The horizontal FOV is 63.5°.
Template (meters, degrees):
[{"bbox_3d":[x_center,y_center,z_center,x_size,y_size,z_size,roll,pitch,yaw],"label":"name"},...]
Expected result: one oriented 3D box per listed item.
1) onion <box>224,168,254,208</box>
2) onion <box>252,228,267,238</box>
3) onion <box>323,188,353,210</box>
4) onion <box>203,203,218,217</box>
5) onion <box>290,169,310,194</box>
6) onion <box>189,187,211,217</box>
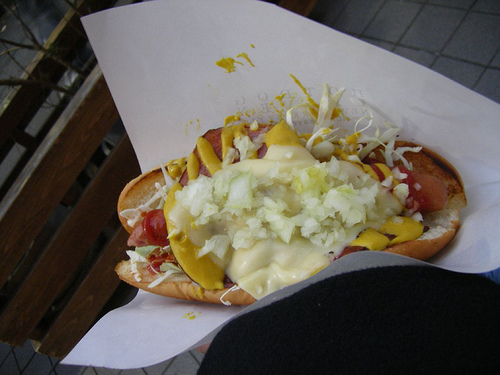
[{"bbox_3d":[-0.044,0.006,1.552,0.110,0.063,0.143,-1,79,4],"label":"onion"},{"bbox_3d":[0.037,0.174,1.543,0.050,0.011,0.038,-4,79,4],"label":"onion"},{"bbox_3d":[0.325,0.051,1.482,0.100,0.030,0.070,21,81,8],"label":"onion"},{"bbox_3d":[-0.155,0.088,1.567,0.044,0.018,0.053,0,83,15],"label":"onion"},{"bbox_3d":[0.191,-0.023,1.533,0.061,0.027,0.087,44,121,32],"label":"onion"},{"bbox_3d":[-0.189,0.058,1.605,0.070,0.026,0.111,32,101,43],"label":"onion"}]
